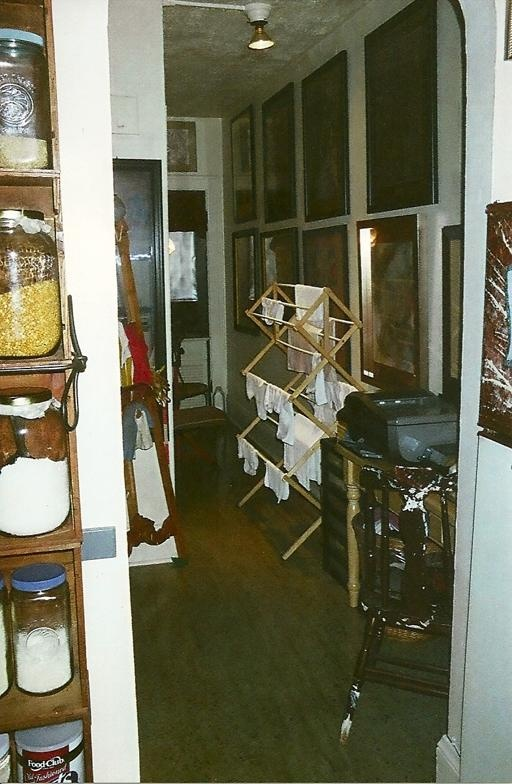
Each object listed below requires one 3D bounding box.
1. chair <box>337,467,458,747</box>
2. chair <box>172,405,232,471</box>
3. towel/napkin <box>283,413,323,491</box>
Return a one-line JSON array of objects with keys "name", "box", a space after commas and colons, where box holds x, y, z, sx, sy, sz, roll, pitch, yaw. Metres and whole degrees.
[{"name": "chair", "box": [0.521, 0.685, 2.453, 0.372, 0.902, 0.662, 1, 11, 14]}, {"name": "chair", "box": [-0.351, 0.295, 4.508, 0.370, 0.373, 0.457, 0, 18, -4]}, {"name": "towel/napkin", "box": [0.245, 0.294, 3.507, 0.168, 0.367, 0.394, -3, 8, -11]}]
